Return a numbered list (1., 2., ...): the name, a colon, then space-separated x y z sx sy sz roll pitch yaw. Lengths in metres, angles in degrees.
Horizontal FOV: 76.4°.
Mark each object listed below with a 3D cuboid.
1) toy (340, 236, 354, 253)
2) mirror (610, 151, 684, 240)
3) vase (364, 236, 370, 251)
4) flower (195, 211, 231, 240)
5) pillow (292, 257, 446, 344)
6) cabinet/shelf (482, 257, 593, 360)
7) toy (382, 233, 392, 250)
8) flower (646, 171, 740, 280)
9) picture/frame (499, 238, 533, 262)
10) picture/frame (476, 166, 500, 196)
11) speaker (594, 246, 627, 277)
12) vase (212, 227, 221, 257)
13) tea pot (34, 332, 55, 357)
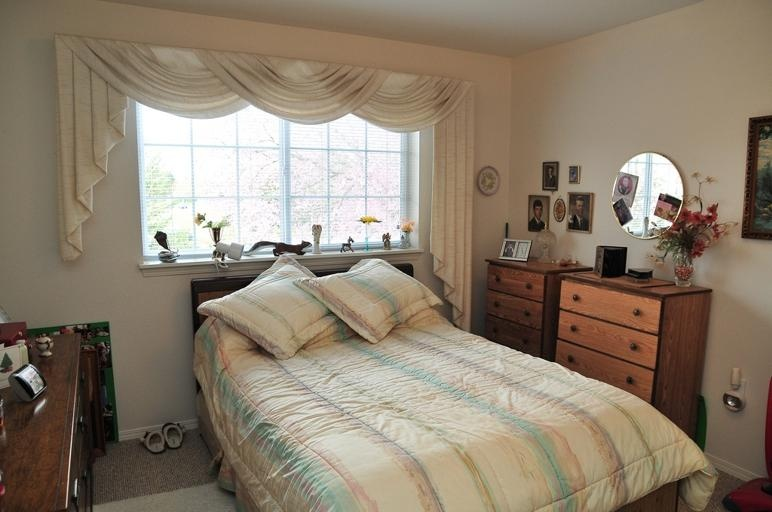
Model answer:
1. toy: -0.378 -0.091 4.663 0.155 0.193 0.096 -5 12 -22
2. mirror: 2.200 -0.494 4.069 0.054 0.834 0.636 -1 12 -35
3. vase: -0.188 -0.116 4.837 0.058 0.125 0.040 -6 9 -38
4. flower: -1.512 -0.252 4.262 0.244 0.219 0.250 -1 -1 29
5. pillow: -0.056 0.326 3.836 0.690 0.192 0.698 -19 43 -43
6. cabinet/shelf: 1.386 0.358 5.061 0.835 1.322 1.003 -1 6 -22
7. toy: 0.003 -0.136 4.851 0.086 0.153 0.145 0 7 -2
8. flower: 2.361 -0.197 3.806 0.281 0.854 0.542 -4 8 -30
9. picture/frame: 1.305 -0.042 4.872 0.212 0.187 0.022 12 -13 36
10. picture/frame: 1.053 -0.753 5.084 0.276 0.284 0.276 -3 5 -26
11. speaker: 1.874 0.022 4.118 0.225 0.319 0.291 0 4 -2
12. vase: -1.470 -0.116 4.228 0.071 0.234 0.163 -2 7 -16
13. tea pot: -2.157 0.560 3.069 0.128 0.139 0.114 1 4 28
